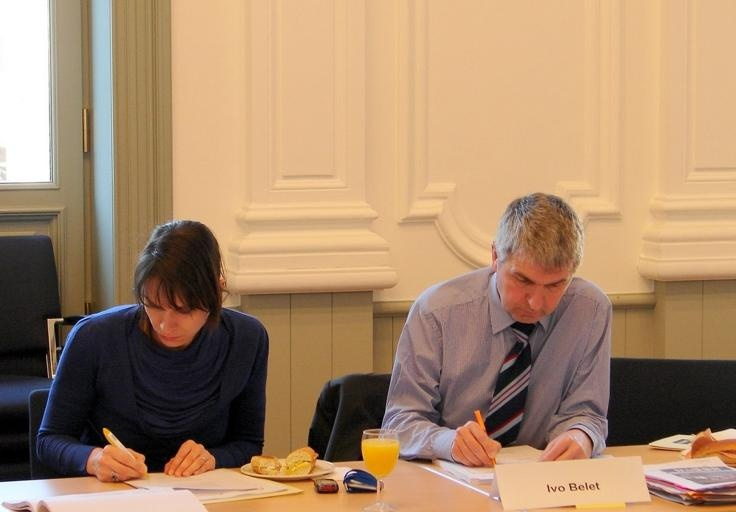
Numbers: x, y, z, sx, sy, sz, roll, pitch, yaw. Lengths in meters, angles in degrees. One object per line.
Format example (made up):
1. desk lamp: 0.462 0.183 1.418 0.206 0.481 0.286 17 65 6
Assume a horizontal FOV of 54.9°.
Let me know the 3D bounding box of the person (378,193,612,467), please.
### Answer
1. person: 0.400 0.291 2.215 0.497 0.983 0.545 2 16 -11

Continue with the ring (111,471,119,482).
1. ring: -0.642 0.556 1.789 0.017 0.023 0.008 10 19 13

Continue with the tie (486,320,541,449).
1. tie: 0.440 0.385 2.124 0.197 0.367 0.083 2 -3 -28

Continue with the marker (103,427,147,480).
1. marker: -0.650 0.522 1.878 0.205 0.041 0.027 48 8 12
